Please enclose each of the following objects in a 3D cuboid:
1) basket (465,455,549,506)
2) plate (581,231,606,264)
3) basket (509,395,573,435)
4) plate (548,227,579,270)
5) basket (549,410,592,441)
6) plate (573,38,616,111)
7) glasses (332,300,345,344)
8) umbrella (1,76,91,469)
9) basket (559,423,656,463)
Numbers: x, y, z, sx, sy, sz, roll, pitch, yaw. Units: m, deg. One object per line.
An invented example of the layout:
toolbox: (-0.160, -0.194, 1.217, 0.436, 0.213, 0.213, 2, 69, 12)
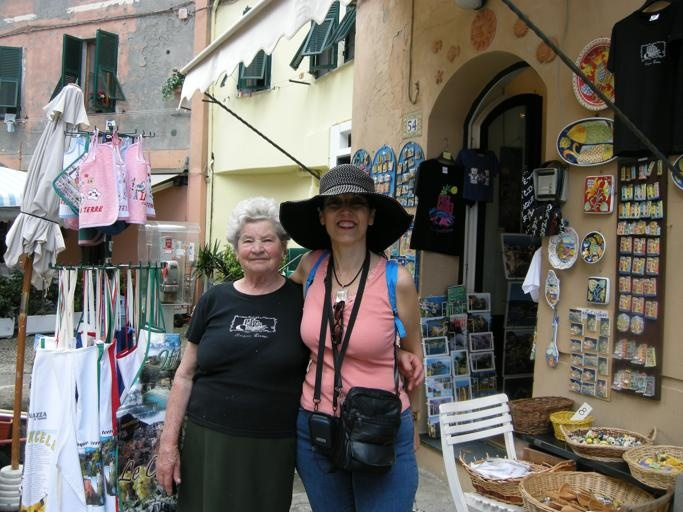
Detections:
basket: (1.060, 1.523, 4.389, 0.297, 0.178, 0.336, -3, 1, -35)
plate: (1.958, -0.070, 4.964, 0.041, 0.250, 0.226, 5, -7, -32)
basket: (1.585, 1.254, 5.086, 0.415, 0.211, 0.294, 2, -7, -34)
plate: (1.800, -0.060, 5.175, 0.074, 0.338, 0.300, 4, -7, -26)
basket: (1.745, 1.294, 4.899, 0.207, 0.128, 0.216, 1, -5, 5)
plate: (1.941, -1.407, 4.912, 0.132, 0.581, 0.383, 4, -7, -27)
glasses: (-0.020, 0.344, 3.301, 0.065, 0.220, 0.043, 1, -6, -1)
umbrella: (-2.534, 0.119, 5.381, 0.626, 3.307, 0.513, 0, -6, 12)
basket: (1.891, 1.336, 4.547, 0.368, 0.161, 0.292, -5, 1, 21)
